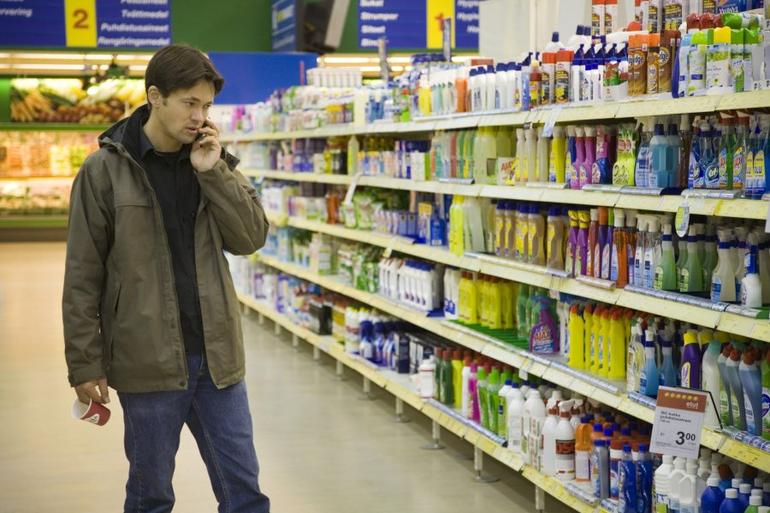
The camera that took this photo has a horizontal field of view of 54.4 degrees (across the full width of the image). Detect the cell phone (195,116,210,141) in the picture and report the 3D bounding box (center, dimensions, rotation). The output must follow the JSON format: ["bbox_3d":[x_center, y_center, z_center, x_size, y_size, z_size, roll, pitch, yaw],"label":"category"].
[{"bbox_3d":[-0.795,-0.553,3.239,0.019,0.077,0.082,28,42,-1],"label":"cell phone"}]
